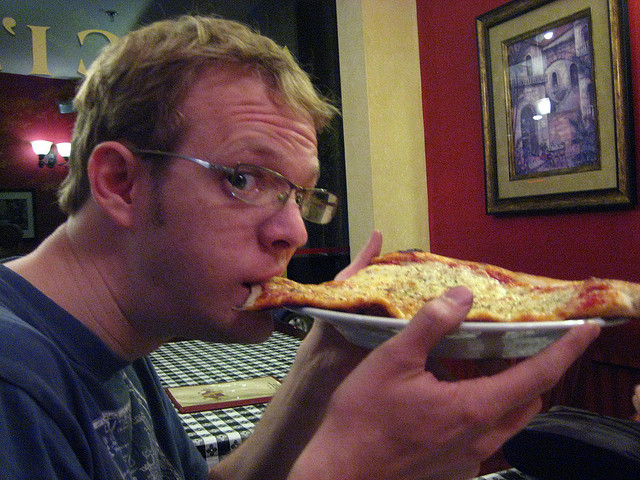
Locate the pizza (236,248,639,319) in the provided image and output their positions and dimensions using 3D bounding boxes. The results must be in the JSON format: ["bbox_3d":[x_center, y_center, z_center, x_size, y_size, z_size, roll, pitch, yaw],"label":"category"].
[{"bbox_3d":[0.379,0.104,1.353,0.665,0.079,0.391,1,3,6],"label":"pizza"}]

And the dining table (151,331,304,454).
[{"bbox_3d":[-0.416,0.625,2.202,0.525,0.127,0.532,0,22,-8],"label":"dining table"}]

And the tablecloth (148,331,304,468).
[{"bbox_3d":[-0.362,0.563,2.028,0.533,0.129,0.524,-6,18,-37],"label":"tablecloth"}]
